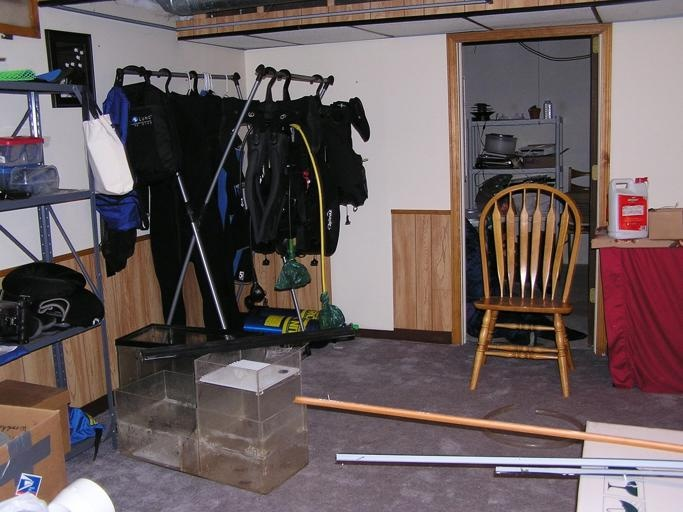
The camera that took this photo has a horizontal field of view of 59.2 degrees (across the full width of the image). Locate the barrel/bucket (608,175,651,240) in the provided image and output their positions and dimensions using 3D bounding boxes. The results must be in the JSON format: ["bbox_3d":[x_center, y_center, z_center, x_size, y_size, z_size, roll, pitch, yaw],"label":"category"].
[{"bbox_3d":[1.908,-0.317,3.989,0.248,0.368,0.319,4,16,23],"label":"barrel/bucket"}]

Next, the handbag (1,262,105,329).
[{"bbox_3d":[-1.526,0.213,3.214,0.394,0.094,0.392,23,10,14],"label":"handbag"}]

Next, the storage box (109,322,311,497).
[{"bbox_3d":[-0.705,0.855,3.178,0.933,0.613,0.475,5,11,30],"label":"storage box"}]

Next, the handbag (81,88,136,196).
[{"bbox_3d":[-1.318,-0.568,3.410,0.226,0.460,0.151,-7,16,-17],"label":"handbag"}]
